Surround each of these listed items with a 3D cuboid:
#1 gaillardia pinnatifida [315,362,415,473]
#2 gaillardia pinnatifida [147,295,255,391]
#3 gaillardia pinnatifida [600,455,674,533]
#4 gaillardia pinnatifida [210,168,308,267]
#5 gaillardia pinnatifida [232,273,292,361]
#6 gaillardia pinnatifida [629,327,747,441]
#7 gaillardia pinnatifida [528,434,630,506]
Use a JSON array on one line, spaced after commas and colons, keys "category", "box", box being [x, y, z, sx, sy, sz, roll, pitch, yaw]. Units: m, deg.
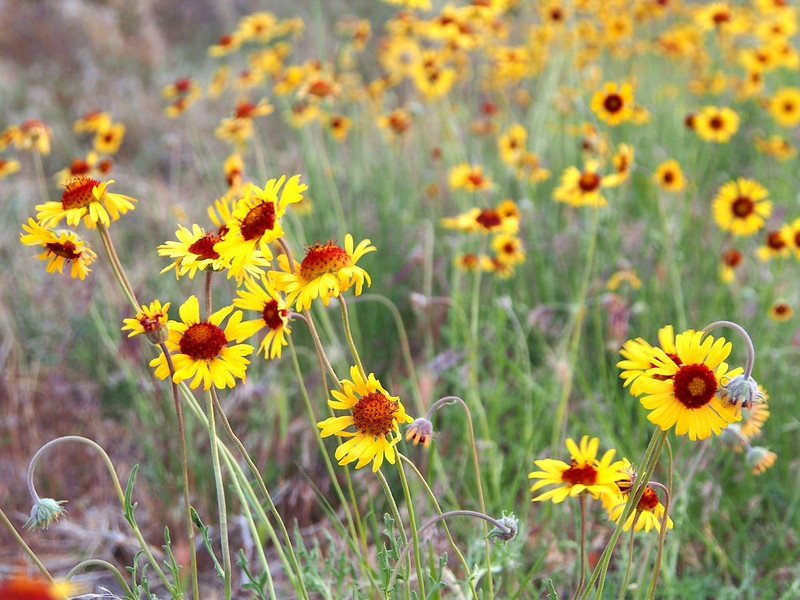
[{"category": "gaillardia pinnatifida", "box": [-0.139, 0.445, 2.916, 0.360, 0.361, 0.248, 13, 24, 37]}, {"category": "gaillardia pinnatifida", "box": [-0.709, 0.180, 2.994, 0.333, 0.315, 0.281, -2, 19, 0]}, {"category": "gaillardia pinnatifida", "box": [0.954, 0.794, 3.109, 0.235, 0.148, 0.267, -8, 20, -8]}, {"category": "gaillardia pinnatifida", "box": [-0.523, -0.287, 2.987, 0.340, 0.309, 0.207, -6, 19, -9]}, {"category": "gaillardia pinnatifida", "box": [-0.481, 0.040, 3.063, 0.087, 0.341, 0.284, -4, -10, -44]}, {"category": "gaillardia pinnatifida", "box": [1.036, 0.335, 2.859, 0.403, 0.155, 0.473, -34, 16, 46]}, {"category": "gaillardia pinnatifida", "box": [0.664, 0.631, 3.016, 0.356, 0.214, 0.311, -4, 20, -3]}]
